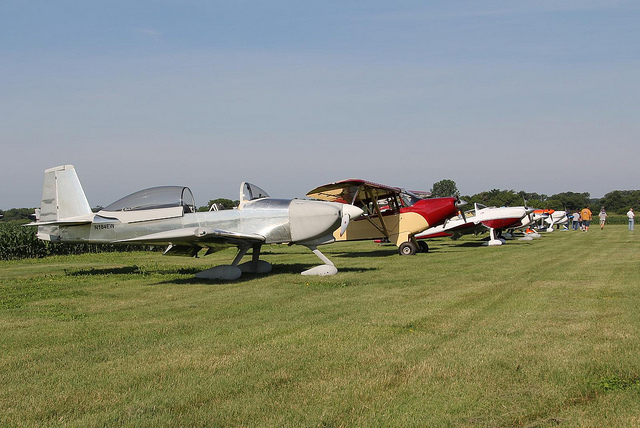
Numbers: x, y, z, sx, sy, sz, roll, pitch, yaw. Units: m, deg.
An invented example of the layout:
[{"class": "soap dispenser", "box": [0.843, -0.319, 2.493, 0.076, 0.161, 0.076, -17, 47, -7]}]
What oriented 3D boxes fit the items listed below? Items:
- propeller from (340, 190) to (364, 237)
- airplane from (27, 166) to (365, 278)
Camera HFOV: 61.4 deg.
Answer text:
[{"class": "propeller", "box": [0.710, 0.133, 12.200, 0.496, 0.670, 0.636, -1, 11, 2]}, {"class": "airplane", "box": [-3.056, 0.226, 11.912, 4.564, 1.267, 4.334, -1, 1, 10]}]
